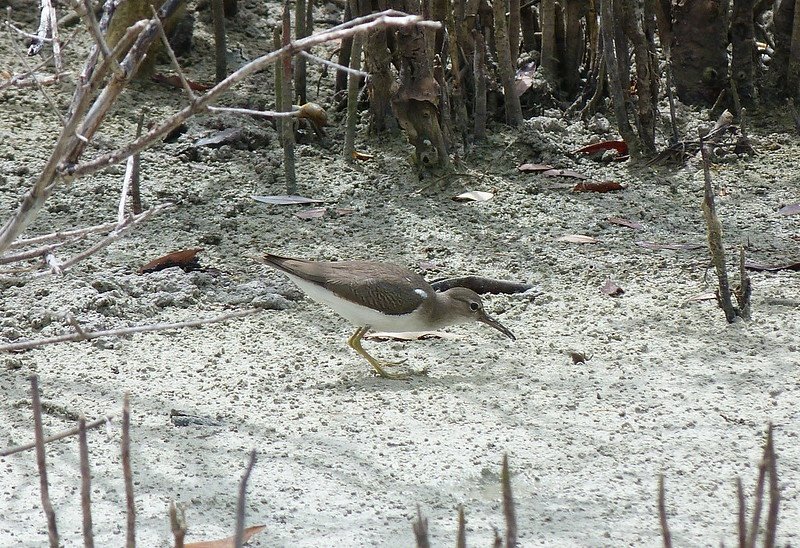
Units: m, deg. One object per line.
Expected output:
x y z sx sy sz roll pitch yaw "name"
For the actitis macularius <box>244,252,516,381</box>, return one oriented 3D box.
-0.118 0.206 5.676 1.529 0.518 0.421 18 8 14 "actitis macularius"
